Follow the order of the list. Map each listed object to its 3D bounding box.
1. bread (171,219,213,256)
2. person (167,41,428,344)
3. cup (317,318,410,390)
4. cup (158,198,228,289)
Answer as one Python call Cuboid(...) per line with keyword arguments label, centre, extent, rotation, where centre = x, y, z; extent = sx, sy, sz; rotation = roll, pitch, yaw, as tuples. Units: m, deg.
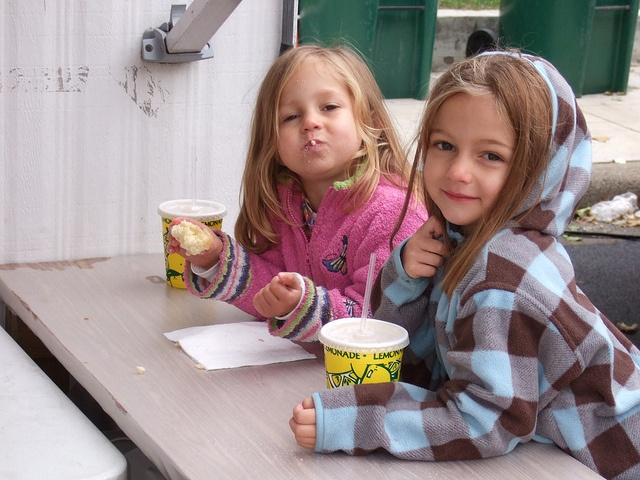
Cuboid(label="bread", centre=(-0.360, -0.003, 1.587), extent=(0.118, 0.089, 0.074), rotation=(11, 22, 31))
Cuboid(label="person", centre=(-0.069, -0.055, 1.677), extent=(0.746, 0.970, 0.686), rotation=(0, 19, -1))
Cuboid(label="cup", centre=(0.084, 0.220, 1.147), extent=(0.150, 0.116, 0.155), rotation=(0, 11, 0))
Cuboid(label="cup", centre=(-0.396, -0.016, 1.869), extent=(0.261, 0.290, 0.259), rotation=(4, 22, -2))
